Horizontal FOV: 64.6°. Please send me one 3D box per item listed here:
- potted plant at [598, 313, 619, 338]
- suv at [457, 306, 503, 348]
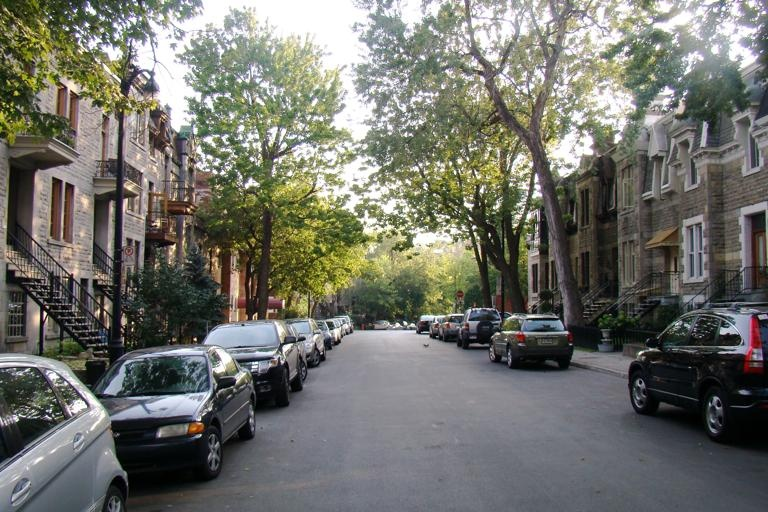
[{"bbox_3d":[10.627,3.304,28.759,0.808,1.166,2.853,-5,-9,20],"label":"potted plant"},{"bbox_3d":[5.325,3.944,34.115,1.345,1.550,2.894,-1,-3,0],"label":"suv"}]
